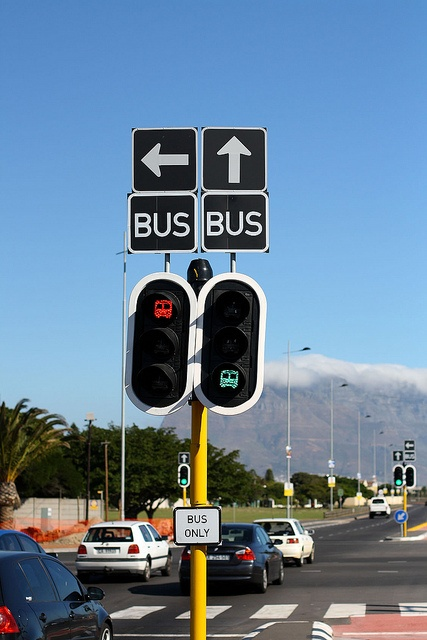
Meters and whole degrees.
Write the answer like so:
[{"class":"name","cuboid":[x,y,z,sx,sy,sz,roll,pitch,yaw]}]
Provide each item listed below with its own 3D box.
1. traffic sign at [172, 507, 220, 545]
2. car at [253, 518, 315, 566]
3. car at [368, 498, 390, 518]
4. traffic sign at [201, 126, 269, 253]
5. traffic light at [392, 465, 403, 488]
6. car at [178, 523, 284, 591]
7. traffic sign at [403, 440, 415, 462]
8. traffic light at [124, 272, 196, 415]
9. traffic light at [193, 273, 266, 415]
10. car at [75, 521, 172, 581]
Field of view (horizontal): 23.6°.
[{"class":"traffic sign","cuboid":[-0.120,1.414,7.026,0.251,0.225,0.085,0,-3,0]},{"class":"car","cuboid":[1.924,5.733,26.708,1.094,0.871,2.429,0,-3,9]},{"class":"car","cuboid":[14.046,16.027,87.163,1.137,1.261,2.775,0,-3,9]},{"class":"traffic sign","cuboid":[0.140,-0.991,7.664,0.517,1.027,0.239,-2,-9,1]},{"class":"traffic light","cuboid":[6.861,5.798,38.136,0.426,0.841,1.528,-4,-10,9]},{"class":"car","cuboid":[0.549,4.501,19.384,0.912,1.273,2.417,-5,-10,16]},{"class":"traffic sign","cuboid":[8.124,5.480,42.899,0.481,0.926,1.755,-4,-10,8]},{"class":"traffic light","cuboid":[-0.363,0.153,6.970,0.503,0.989,0.263,-2,-9,-3]},{"class":"traffic light","cuboid":[0.094,0.155,6.890,0.524,0.975,0.409,-4,-9,8]},{"class":"car","cuboid":[-1.875,5.004,22.114,1.052,0.896,2.161,-2,-16,7]}]
